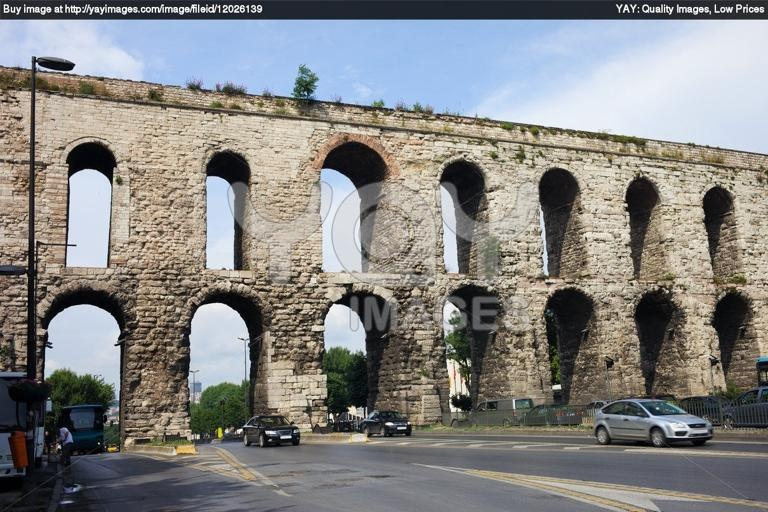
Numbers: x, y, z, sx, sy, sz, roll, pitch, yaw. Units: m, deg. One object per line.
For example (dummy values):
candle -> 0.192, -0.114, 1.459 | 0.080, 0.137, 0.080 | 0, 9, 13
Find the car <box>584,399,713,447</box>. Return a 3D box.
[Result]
car -> 10.246, 6.393, 39.654 | 4.195, 1.804, 1.203 | -9, -13, 39

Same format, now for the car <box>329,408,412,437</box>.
car -> 0.003, 8.051, 49.777 | 1.502, 1.309, 3.523 | 5, -11, -25

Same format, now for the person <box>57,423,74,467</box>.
person -> -12.053, 7.080, 38.800 | 0.535, 1.660, 0.503 | -3, -4, 22

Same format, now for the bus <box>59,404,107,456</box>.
bus -> -15.735, 9.120, 54.644 | 2.477, 2.662, 6.392 | 2, -18, -19

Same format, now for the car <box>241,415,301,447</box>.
car -> -5.108, 7.702, 45.566 | 1.178, 0.851, 2.925 | 7, -16, -24
